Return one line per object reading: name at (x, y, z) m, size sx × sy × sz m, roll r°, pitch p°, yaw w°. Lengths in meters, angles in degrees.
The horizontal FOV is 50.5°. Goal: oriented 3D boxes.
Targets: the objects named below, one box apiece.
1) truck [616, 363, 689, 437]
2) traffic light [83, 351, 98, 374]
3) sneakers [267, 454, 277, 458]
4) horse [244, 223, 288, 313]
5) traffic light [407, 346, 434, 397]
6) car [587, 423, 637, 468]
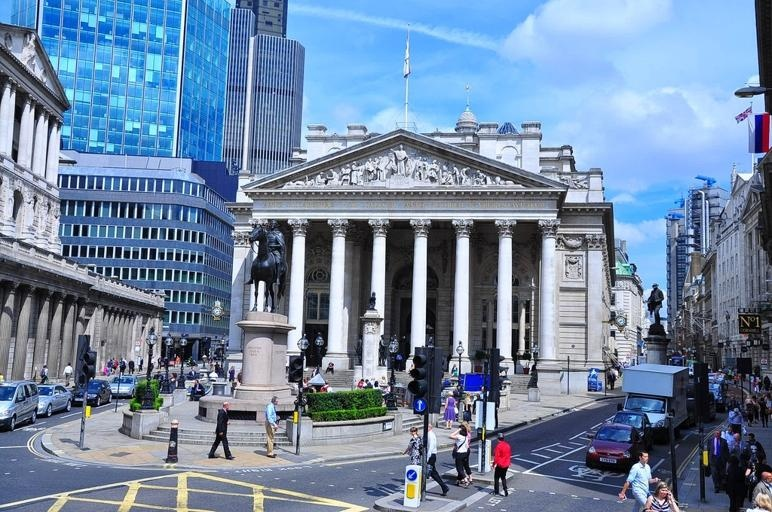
truck at (19.199, 10.307, 58.626) m, size 4.010 × 4.541 × 8.141 m, roll 3°, pitch 0°, yaw 25°
traffic light at (-17.293, 6.248, 47.530) m, size 0.704 × 1.430 × 0.585 m, roll 1°, pitch -11°, yaw -5°
sneakers at (-6.685, 11.703, 47.969) m, size 0.572 × 0.219 × 0.182 m, roll -2°, pitch 0°, yaw 9°
horse at (-7.972, 0.727, 55.445) m, size 2.222 × 6.189 × 5.532 m, roll 2°, pitch -5°, yaw 15°
traffic light at (1.727, 5.733, 40.347) m, size 1.246 × 2.427 × 0.637 m, roll 6°, pitch -12°, yaw -25°
car at (14.268, 11.643, 50.535) m, size 2.927 × 2.420 × 5.435 m, roll 1°, pitch -2°, yaw 30°
